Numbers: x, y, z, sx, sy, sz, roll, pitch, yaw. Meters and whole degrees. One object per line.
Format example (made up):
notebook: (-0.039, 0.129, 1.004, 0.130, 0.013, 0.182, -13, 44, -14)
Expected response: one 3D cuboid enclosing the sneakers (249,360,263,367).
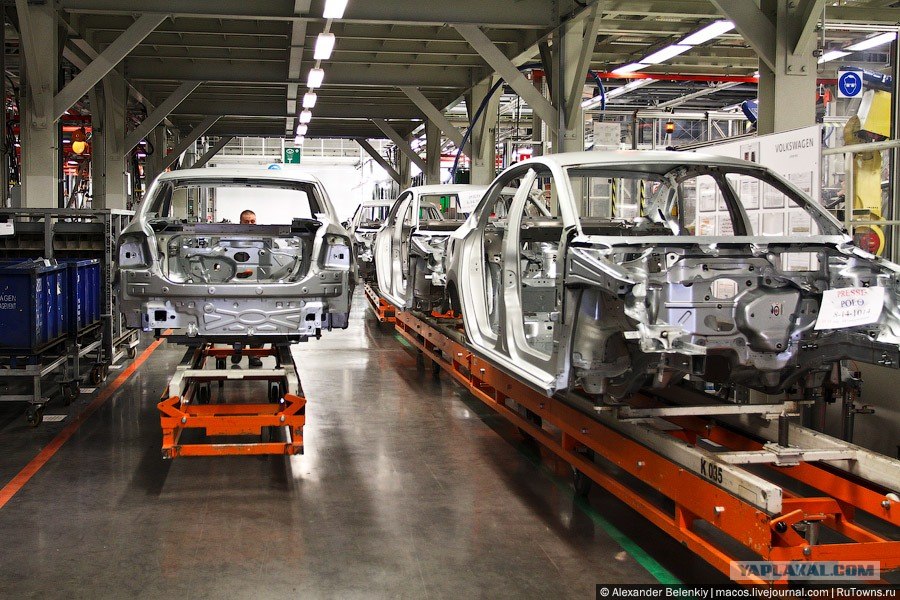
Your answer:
sneakers: (-2.214, 0.719, 7.908, 0.115, 0.101, 0.114, 2, 1, 23)
